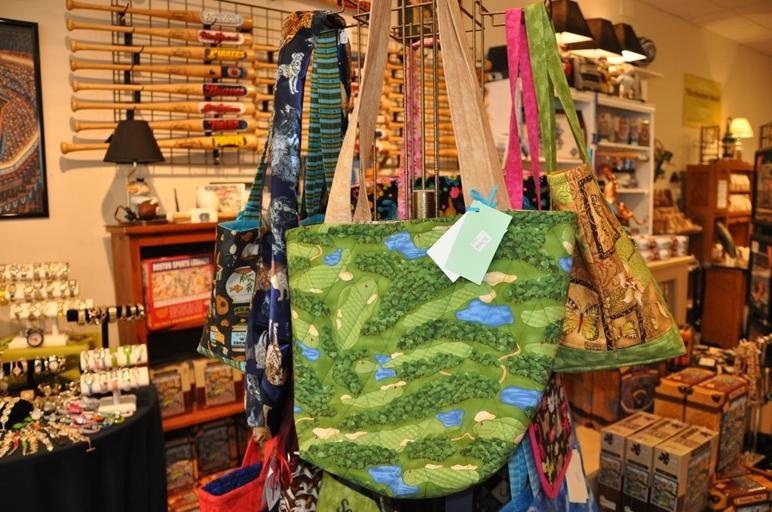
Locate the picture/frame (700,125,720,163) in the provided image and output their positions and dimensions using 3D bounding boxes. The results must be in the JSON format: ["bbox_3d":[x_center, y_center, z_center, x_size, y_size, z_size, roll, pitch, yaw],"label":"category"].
[{"bbox_3d":[3.928,-1.338,7.474,0.183,0.429,0.749,-1,4,40],"label":"picture/frame"}]

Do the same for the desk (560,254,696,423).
[{"bbox_3d":[1.117,0.459,2.880,0.294,0.945,0.948,5,11,37],"label":"desk"}]

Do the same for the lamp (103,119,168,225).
[{"bbox_3d":[-1.555,-0.519,3.822,0.323,0.502,0.418,-5,3,-25],"label":"lamp"}]
